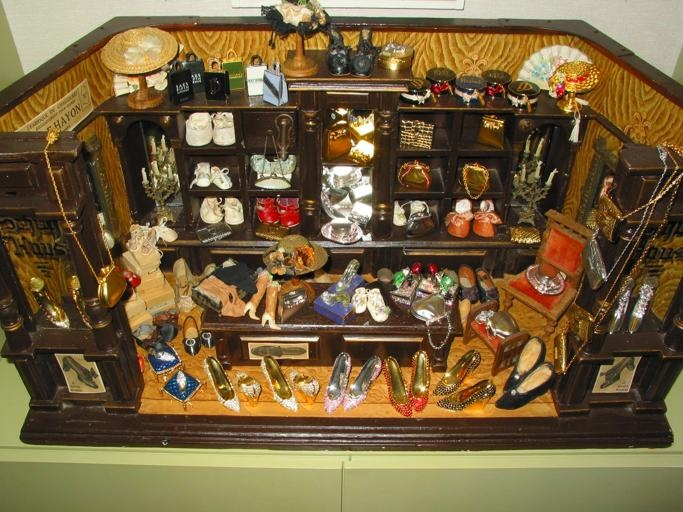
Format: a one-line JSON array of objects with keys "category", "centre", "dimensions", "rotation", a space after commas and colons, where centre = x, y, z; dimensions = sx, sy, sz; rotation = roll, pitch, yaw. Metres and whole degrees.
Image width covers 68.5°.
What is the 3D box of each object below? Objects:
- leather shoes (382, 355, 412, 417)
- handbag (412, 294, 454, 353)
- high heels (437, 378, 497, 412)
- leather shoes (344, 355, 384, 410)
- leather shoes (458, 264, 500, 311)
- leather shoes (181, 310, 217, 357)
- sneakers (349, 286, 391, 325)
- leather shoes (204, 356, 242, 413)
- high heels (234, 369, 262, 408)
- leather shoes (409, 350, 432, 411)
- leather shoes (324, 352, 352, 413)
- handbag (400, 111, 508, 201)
[{"category": "leather shoes", "centre": [0.455, 1.043, 3.971], "dimensions": [0.192, 0.074, 0.508], "rotation": [-11, 44, -4]}, {"category": "handbag", "centre": [0.731, 0.564, 4.030], "dimensions": [0.351, 0.102, 0.418], "rotation": [-7, 61, -18]}, {"category": "high heels", "centre": [0.975, 1.119, 4.007], "dimensions": [0.575, 0.227, 0.180], "rotation": [-11, 56, 4]}, {"category": "leather shoes", "centre": [0.174, 0.995, 3.996], "dimensions": [0.183, 0.148, 0.498], "rotation": [33, 79, 9]}, {"category": "leather shoes", "centre": [1.223, 0.269, 4.510], "dimensions": [0.287, 0.129, 0.376], "rotation": [-2, 41, 0]}, {"category": "leather shoes", "centre": [-1.296, 0.682, 4.401], "dimensions": [0.282, 0.128, 0.372], "rotation": [-23, 74, -21]}, {"category": "sneakers", "centre": [0.248, 0.405, 4.046], "dimensions": [0.243, 0.104, 0.296], "rotation": [-12, 70, -3]}, {"category": "leather shoes", "centre": [-0.926, 1.014, 3.914], "dimensions": [0.191, 0.079, 0.549], "rotation": [-19, 59, -24]}, {"category": "high heels", "centre": [-0.726, 1.046, 3.973], "dimensions": [0.139, 0.099, 0.272], "rotation": [-28, 60, -11]}, {"category": "leather shoes", "centre": [0.619, 0.968, 3.917], "dimensions": [0.160, 0.060, 0.423], "rotation": [-3, 64, 18]}, {"category": "leather shoes", "centre": [-0.020, 0.988, 3.922], "dimensions": [0.169, 0.125, 0.443], "rotation": [10, 82, 28]}, {"category": "handbag", "centre": [1.013, -0.914, 4.514], "dimensions": [0.957, 0.814, 0.295], "rotation": [-1, 44, 2]}]
